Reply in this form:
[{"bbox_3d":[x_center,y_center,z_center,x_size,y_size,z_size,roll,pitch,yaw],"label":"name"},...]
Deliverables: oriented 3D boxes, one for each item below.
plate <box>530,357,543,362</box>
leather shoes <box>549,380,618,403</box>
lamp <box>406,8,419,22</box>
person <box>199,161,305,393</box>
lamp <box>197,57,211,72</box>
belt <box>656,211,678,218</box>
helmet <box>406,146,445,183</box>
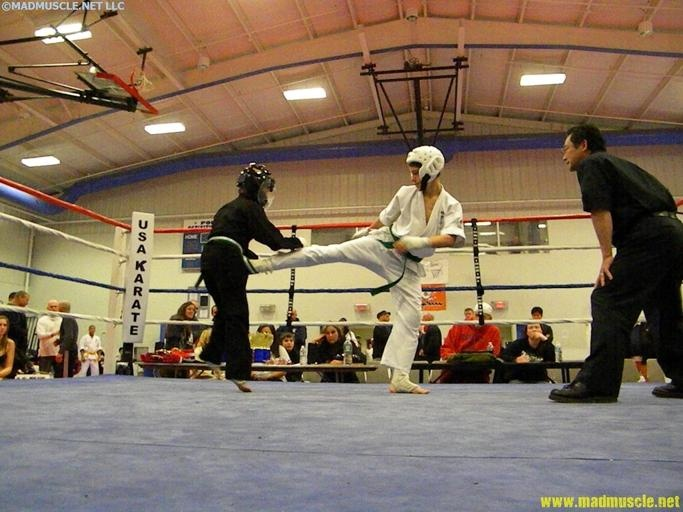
[{"bbox_3d":[1.857,0.986,4.681,0.097,0.019,0.098,-1,-1,35],"label":"plate"},{"bbox_3d":[1.118,0.617,2.297,0.306,0.100,0.107,2,-16,11],"label":"leather shoes"},{"bbox_3d":[1.290,-4.294,8.895,0.212,0.130,0.194,-11,-20,23],"label":"lamp"},{"bbox_3d":[-0.578,0.083,3.044,0.553,1.455,0.440,5,-13,-14],"label":"person"},{"bbox_3d":[-2.573,-3.630,9.310,0.208,0.342,0.366,6,-12,-16],"label":"lamp"},{"bbox_3d":[1.556,-0.196,2.361,0.064,0.012,0.060,-1,-3,44],"label":"belt"},{"bbox_3d":[0.538,-0.580,3.158,0.276,0.199,0.199,1,-6,8],"label":"helmet"}]
